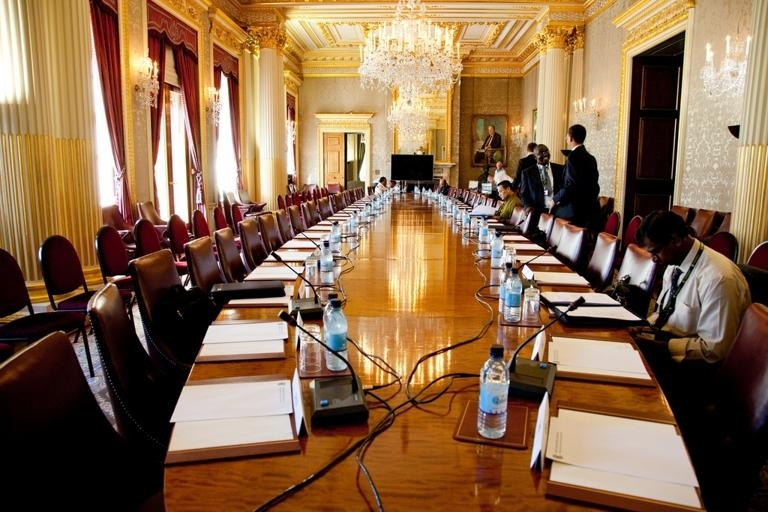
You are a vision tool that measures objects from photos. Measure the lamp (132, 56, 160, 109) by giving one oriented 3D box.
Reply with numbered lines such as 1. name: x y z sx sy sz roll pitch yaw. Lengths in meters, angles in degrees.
1. lamp: -3.612 -2.617 8.174 0.240 0.724 0.668 -3 13 -10

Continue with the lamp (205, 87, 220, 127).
1. lamp: -3.299 -2.851 10.398 0.182 0.761 0.550 -1 12 -3

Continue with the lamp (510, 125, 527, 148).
1. lamp: 3.864 -3.402 15.446 0.487 0.882 0.529 -1 4 1

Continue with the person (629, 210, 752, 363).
1. person: 1.778 0.196 3.292 0.659 1.046 0.828 -4 6 12
